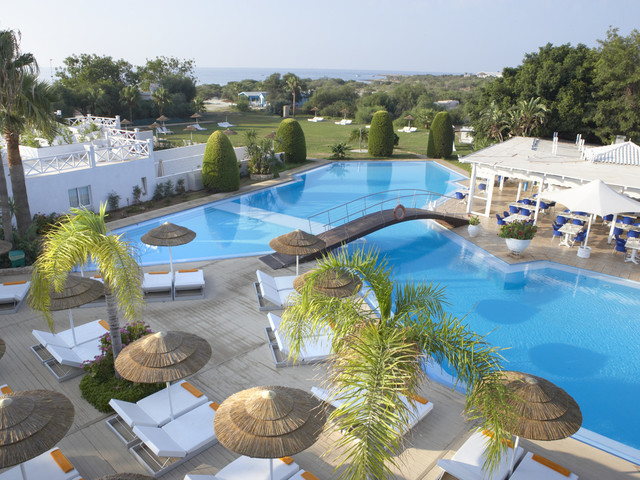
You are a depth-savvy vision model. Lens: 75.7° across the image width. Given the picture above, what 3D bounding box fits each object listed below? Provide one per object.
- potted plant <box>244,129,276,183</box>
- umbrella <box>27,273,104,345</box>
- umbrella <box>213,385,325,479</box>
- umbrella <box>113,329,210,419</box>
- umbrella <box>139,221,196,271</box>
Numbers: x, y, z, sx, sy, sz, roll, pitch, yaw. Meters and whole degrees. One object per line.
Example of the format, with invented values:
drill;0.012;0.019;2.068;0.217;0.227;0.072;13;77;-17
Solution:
potted plant;-4.082;-5.795;28.625;2.038;2.963;2.796;-3;19;-6
umbrella;-6.510;1.849;10.486;1.231;1.416;1.299;9;40;-11
umbrella;-0.861;3.367;7.048;1.110;1.316;1.176;21;38;26
umbrella;-3.175;2.883;8.427;1.687;1.963;1.662;-4;17;-25
umbrella;-5.076;0.415;13.843;1.753;2.126;1.765;0;21;-13
